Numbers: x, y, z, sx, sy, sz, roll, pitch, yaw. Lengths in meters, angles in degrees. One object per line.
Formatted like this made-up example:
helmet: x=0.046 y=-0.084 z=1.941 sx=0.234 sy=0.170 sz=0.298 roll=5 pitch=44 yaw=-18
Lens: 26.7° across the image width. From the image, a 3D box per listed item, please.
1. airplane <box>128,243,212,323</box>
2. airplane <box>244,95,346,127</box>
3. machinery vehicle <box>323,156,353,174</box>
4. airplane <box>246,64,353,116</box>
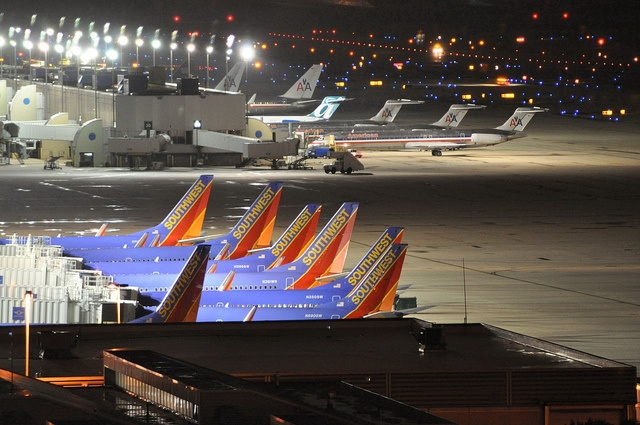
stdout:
airplane: x=-12.832 y=6.470 z=124.674 sx=4.399 sy=7.154 sz=1.364 roll=7 pitch=5 yaw=-12
airplane: x=-5.023 y=-18.550 z=245.802 sx=16.693 sy=3.971 sz=3.995 roll=5 pitch=16 yaw=1
machinery vehicle: x=2.275 y=-6.605 z=190.859 sx=4.365 sy=1.827 sz=2.073 roll=0 pitch=2 yaw=-9
airplane: x=-10.718 y=-21.963 z=258.577 sx=22.912 sy=6.020 sz=17.488 roll=0 pitch=5 yaw=16
